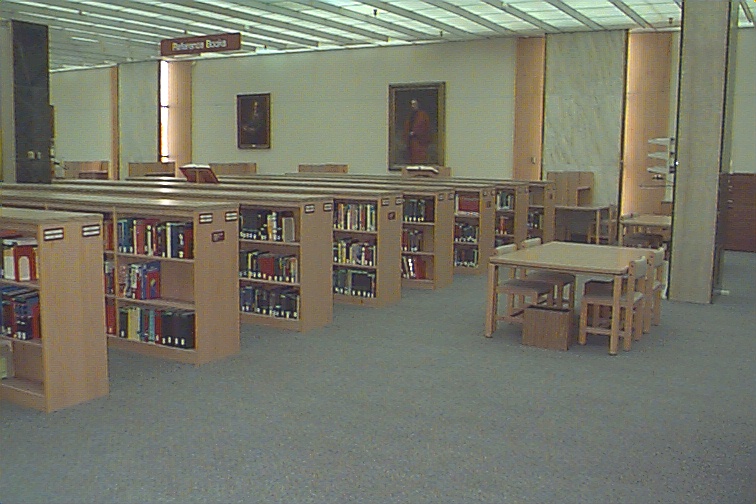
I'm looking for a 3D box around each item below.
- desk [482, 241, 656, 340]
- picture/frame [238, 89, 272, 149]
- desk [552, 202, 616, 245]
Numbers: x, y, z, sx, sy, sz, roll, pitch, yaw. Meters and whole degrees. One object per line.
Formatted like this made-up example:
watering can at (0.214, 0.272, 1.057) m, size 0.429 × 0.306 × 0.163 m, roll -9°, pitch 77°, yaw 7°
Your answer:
desk at (2.287, 0.483, 8.073) m, size 1.722 × 0.573 × 1.107 m, roll 6°, pitch 0°, yaw 8°
picture/frame at (-4.116, -4.334, 20.388) m, size 1.327 × 1.808 × 0.318 m, roll 6°, pitch 15°, yaw 22°
desk at (5.050, -0.681, 14.918) m, size 1.367 × 0.673 × 1.324 m, roll 5°, pitch 10°, yaw 35°
